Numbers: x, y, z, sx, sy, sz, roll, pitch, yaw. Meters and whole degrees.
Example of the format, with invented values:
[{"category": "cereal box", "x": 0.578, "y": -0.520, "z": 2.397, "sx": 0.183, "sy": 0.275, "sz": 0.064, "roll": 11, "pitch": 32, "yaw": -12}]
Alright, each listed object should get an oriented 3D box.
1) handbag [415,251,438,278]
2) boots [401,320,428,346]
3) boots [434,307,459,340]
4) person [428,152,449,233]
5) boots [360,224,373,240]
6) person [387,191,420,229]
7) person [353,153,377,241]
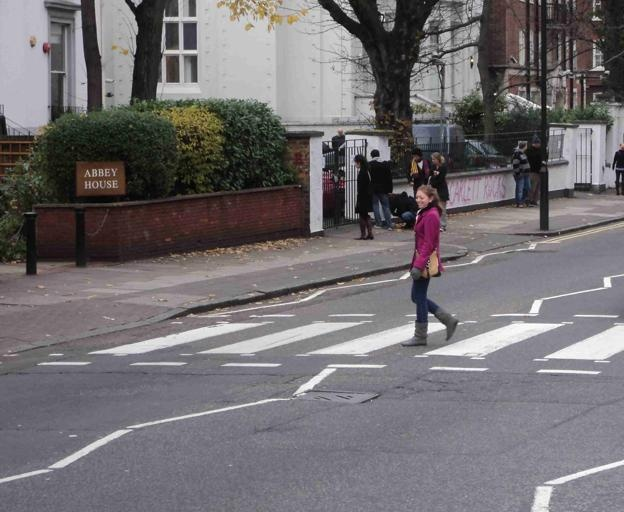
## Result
[{"category": "handbag", "x": 1.472, "y": 0.106, "z": 14.069, "sx": 0.248, "sy": 0.302, "sz": 0.137, "roll": -7, "pitch": 11, "yaw": -5}, {"category": "boots", "x": 1.330, "y": 0.995, "z": 13.981, "sx": 0.376, "sy": 0.386, "sz": 0.189, "roll": 4, "pitch": 3, "yaw": 9}, {"category": "boots", "x": 1.734, "y": 0.877, "z": 14.194, "sx": 0.286, "sy": 0.417, "sz": 0.425, "roll": -1, "pitch": 4, "yaw": 6}, {"category": "person", "x": 2.998, "y": -1.532, "z": 25.982, "sx": 0.482, "sy": 1.701, "sz": 0.530, "roll": -1, "pitch": 1, "yaw": -5}, {"category": "boots", "x": 1.271, "y": -0.576, "z": 25.313, "sx": 0.351, "sy": 0.478, "sz": 0.248, "roll": 9, "pitch": 12, "yaw": 42}, {"category": "person", "x": 2.277, "y": -1.150, "z": 27.556, "sx": 0.770, "sy": 0.951, "sz": 0.595, "roll": -5, "pitch": 7, "yaw": 10}, {"category": "person", "x": 1.218, "y": -1.359, "z": 25.406, "sx": 0.407, "sy": 1.932, "sz": 1.277, "roll": -1, "pitch": 4, "yaw": 3}]
